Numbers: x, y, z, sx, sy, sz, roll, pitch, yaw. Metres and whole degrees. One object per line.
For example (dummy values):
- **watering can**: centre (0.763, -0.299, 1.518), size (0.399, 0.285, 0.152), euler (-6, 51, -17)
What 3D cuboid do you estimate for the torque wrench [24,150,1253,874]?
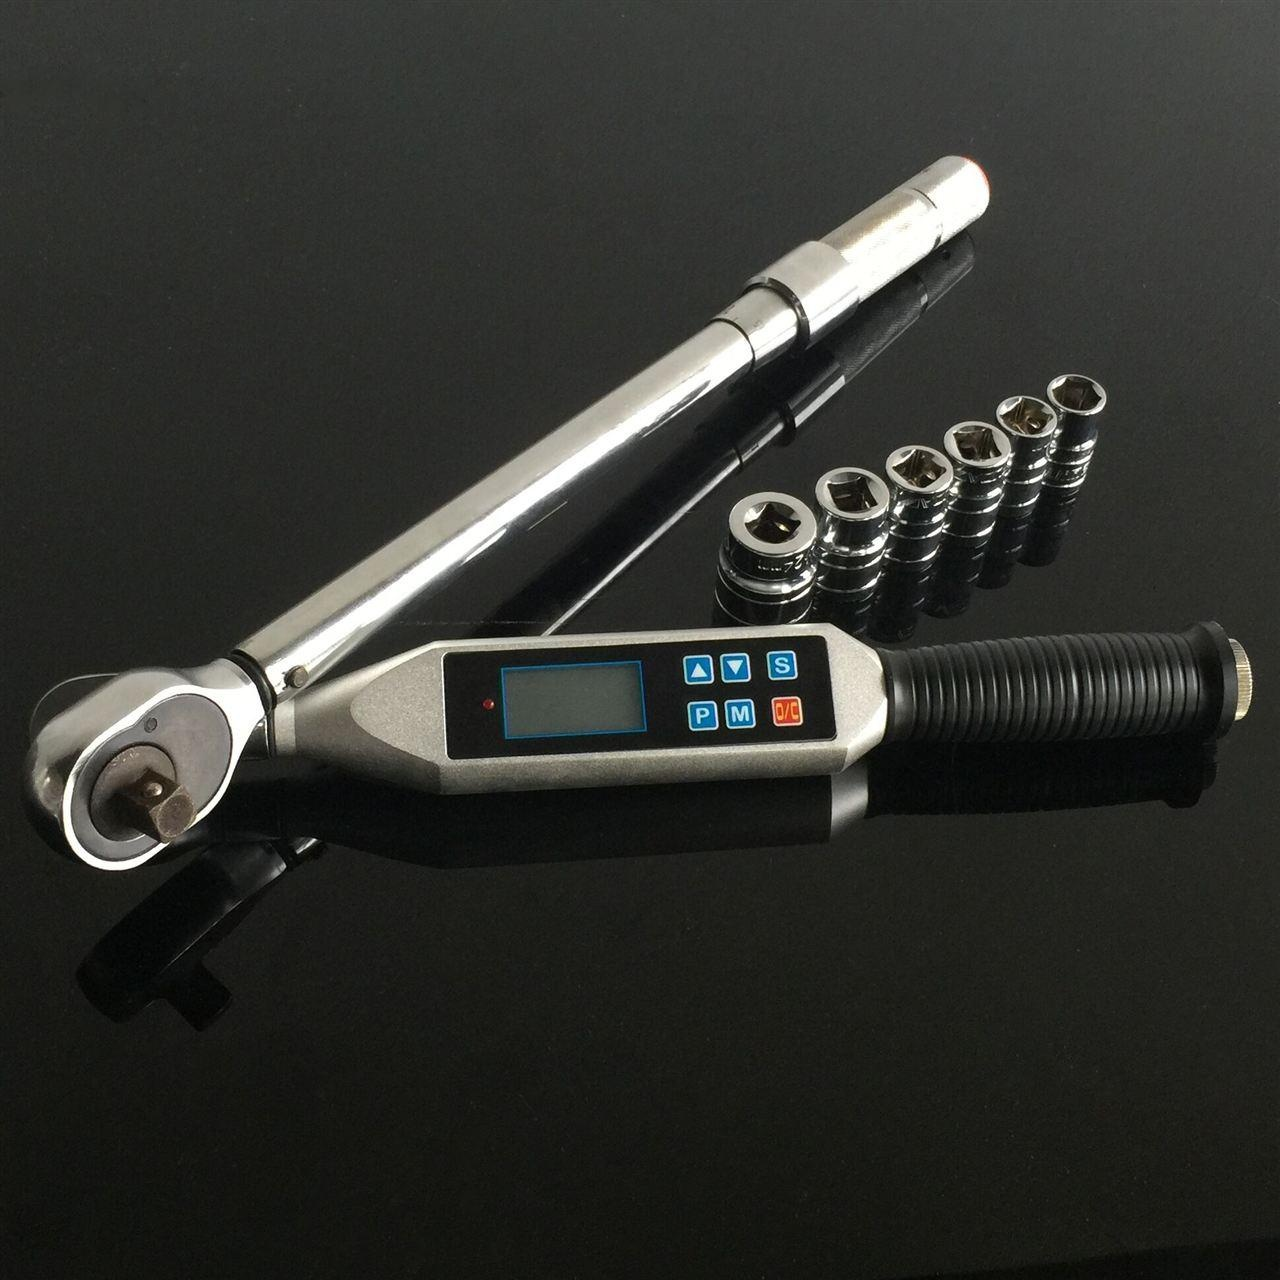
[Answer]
- **torque wrench**: centre (0.008, -0.024, 1.124), size (0.426, 0.113, 0.649), euler (32, 55, 24)

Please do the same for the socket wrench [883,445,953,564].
- **socket wrench**: centre (0.188, -0.092, 1.181), size (0.053, 0.070, 0.052), euler (-11, 53, 0)

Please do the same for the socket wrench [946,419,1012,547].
- **socket wrench**: centre (0.234, -0.108, 1.205), size (0.048, 0.080, 0.053), euler (3, 35, -1)
